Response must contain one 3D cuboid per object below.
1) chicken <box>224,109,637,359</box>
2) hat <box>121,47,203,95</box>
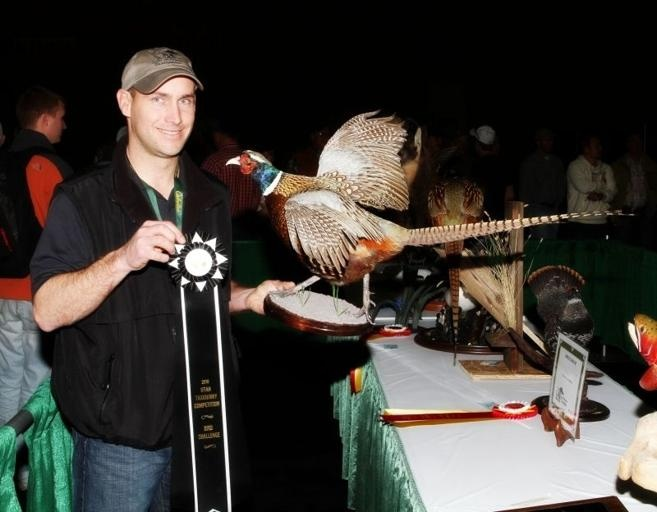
[{"bbox_3d":[0.227,-0.025,3.224,1.213,0.615,1.235,1,33,5],"label":"chicken"},{"bbox_3d":[-0.689,-0.758,2.562,0.379,0.203,0.298,6,13,40],"label":"hat"}]
